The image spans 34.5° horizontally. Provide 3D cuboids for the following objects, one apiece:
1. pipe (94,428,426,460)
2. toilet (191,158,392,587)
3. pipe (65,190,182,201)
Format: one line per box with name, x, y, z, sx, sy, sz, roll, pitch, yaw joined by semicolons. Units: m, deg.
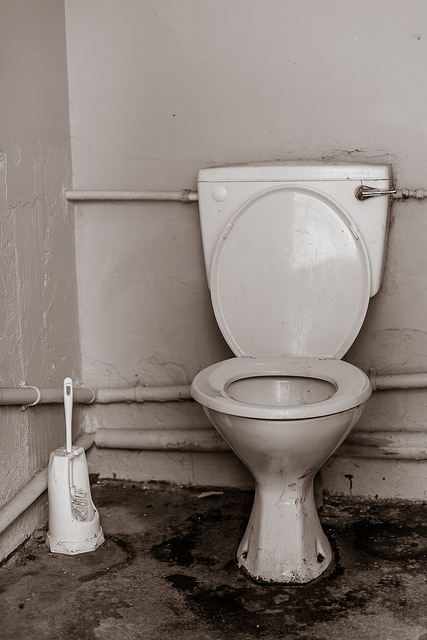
pipe;0.098;0.311;1.764;0.857;0.081;0.070;0;7;12
toilet;0.192;0.065;1.449;0.460;0.866;0.618;-1;7;3
pipe;-0.226;-0.317;1.745;0.299;0.033;0.051;0;7;8
